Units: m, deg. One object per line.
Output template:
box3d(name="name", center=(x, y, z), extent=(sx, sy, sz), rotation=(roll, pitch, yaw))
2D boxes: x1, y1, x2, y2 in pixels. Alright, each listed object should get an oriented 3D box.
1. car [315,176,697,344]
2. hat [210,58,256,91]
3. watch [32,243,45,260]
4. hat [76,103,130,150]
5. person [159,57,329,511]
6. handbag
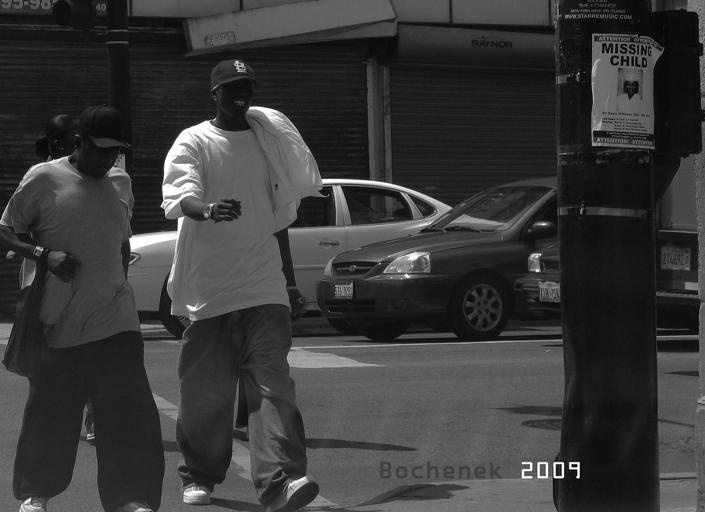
box3d(name="car", center=(1.118, 0.160, 13.227), extent=(3.930, 1.636, 1.915), rotation=(1, -2, -19))
box3d(name="hat", center=(-0.664, -1.023, 6.425), extent=(0.227, 0.143, 0.299), rotation=(-6, 5, -37))
box3d(name="watch", center=(-1.637, -0.026, 5.977), extent=(0.045, 0.068, 0.065), rotation=(5, -7, -2))
box3d(name="hat", center=(-1.318, -0.710, 6.162), extent=(0.313, 0.160, 0.196), rotation=(1, 16, -30))
box3d(name="person", center=(-0.573, 0.160, 6.152), extent=(0.631, 2.424, 0.914), rotation=(-3, 6, -38))
box3d(name="handbag", center=(-1.729, 0.330, 6.044), extent=(0.228, 0.611, 0.295), rotation=(-1, 5, -16))
